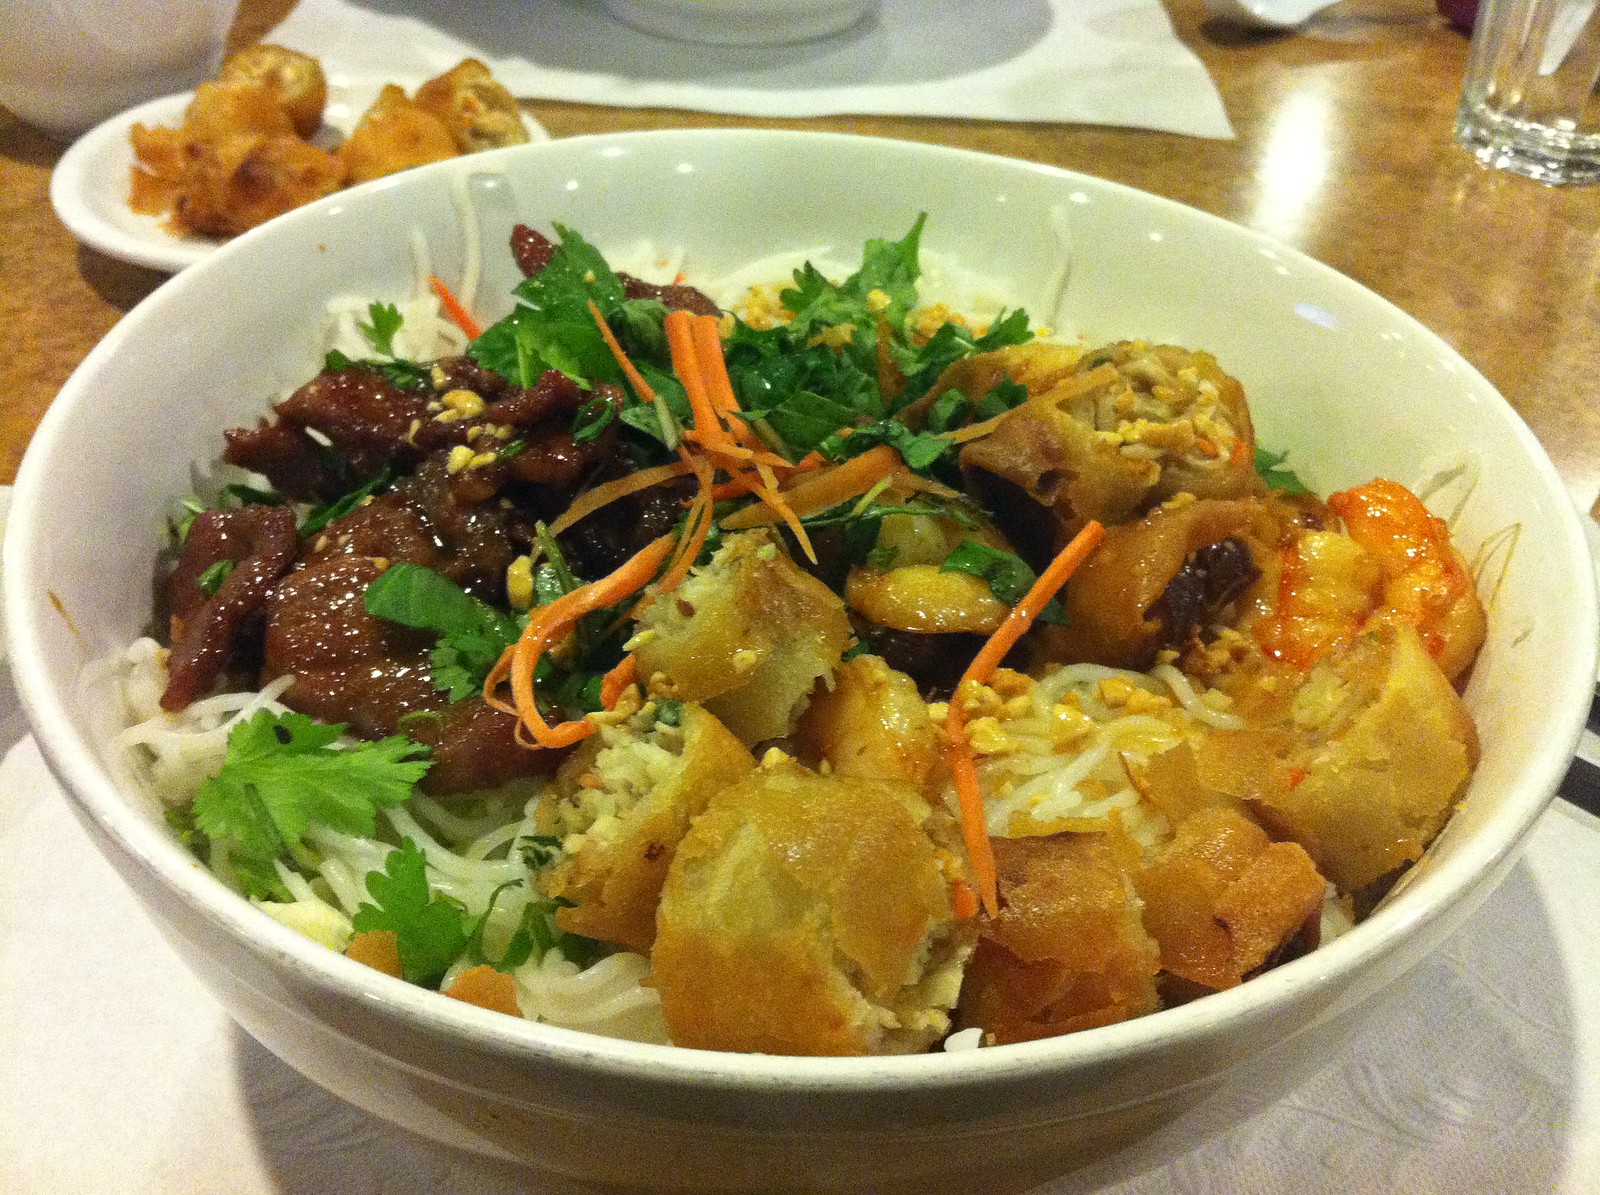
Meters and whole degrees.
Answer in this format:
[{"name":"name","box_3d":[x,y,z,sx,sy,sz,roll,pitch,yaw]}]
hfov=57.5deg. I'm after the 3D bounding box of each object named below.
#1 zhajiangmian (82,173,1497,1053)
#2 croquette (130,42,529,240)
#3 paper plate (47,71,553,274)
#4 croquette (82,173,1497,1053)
[{"name":"zhajiangmian","box_3d":[-0.035,0.037,2.445,2.225,0.634,1.458,16,69,8]},{"name":"croquette","box_3d":[-1.194,-1.127,3.732,0.753,0.201,0.694,-16,46,-23]},{"name":"paper plate","box_3d":[-1.421,-0.945,3.914,0.994,0.184,0.911,-11,46,-28]},{"name":"croquette","box_3d":[-0.035,0.037,2.445,2.225,0.634,1.457,16,69,8]}]
